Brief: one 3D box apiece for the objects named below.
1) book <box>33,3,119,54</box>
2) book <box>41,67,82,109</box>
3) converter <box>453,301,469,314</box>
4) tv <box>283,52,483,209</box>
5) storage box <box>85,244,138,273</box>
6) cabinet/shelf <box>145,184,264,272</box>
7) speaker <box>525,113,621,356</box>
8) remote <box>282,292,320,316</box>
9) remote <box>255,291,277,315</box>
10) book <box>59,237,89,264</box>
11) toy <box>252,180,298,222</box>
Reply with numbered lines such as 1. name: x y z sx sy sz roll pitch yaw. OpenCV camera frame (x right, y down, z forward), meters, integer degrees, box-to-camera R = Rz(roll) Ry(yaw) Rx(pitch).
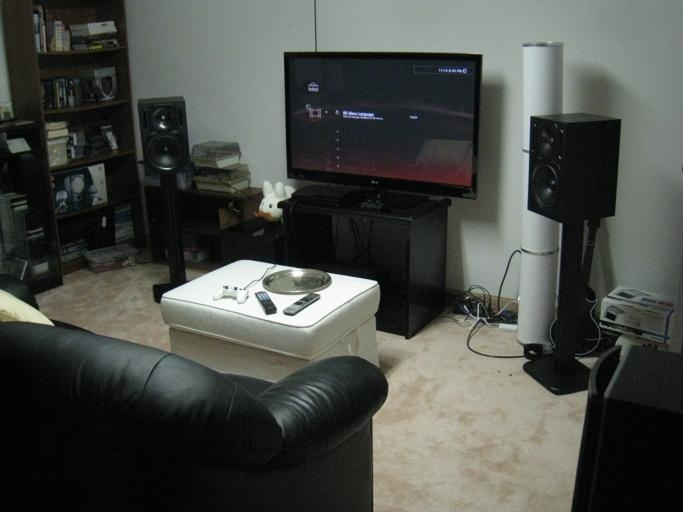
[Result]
1. book: -2.014 -1.705 4.259 0.314 0.354 0.796 5 20 19
2. book: -2.061 -1.205 4.255 0.094 0.212 0.355 6 20 21
3. converter: 0.755 0.325 3.630 0.080 0.081 0.061 -24 9 26
4. tv: 0.204 -0.812 3.485 1.261 0.802 0.072 9 20 26
5. storage box: -1.777 0.023 4.464 0.297 0.108 0.201 -16 29 -35
6. cabinet/shelf: -0.972 -0.199 4.131 0.556 0.415 0.202 9 18 27
7. speaker: 1.087 -0.066 2.803 0.391 1.189 0.351 2 18 10
8. remote: -0.183 0.217 2.621 0.062 0.027 0.199 15 31 27
9. remote: -0.349 0.210 2.650 0.053 0.026 0.148 -6 28 -18
10. book: -2.040 -0.043 4.400 0.135 0.145 0.208 20 30 27
11. toy: -0.454 -0.387 3.929 0.232 0.262 0.282 19 35 39
